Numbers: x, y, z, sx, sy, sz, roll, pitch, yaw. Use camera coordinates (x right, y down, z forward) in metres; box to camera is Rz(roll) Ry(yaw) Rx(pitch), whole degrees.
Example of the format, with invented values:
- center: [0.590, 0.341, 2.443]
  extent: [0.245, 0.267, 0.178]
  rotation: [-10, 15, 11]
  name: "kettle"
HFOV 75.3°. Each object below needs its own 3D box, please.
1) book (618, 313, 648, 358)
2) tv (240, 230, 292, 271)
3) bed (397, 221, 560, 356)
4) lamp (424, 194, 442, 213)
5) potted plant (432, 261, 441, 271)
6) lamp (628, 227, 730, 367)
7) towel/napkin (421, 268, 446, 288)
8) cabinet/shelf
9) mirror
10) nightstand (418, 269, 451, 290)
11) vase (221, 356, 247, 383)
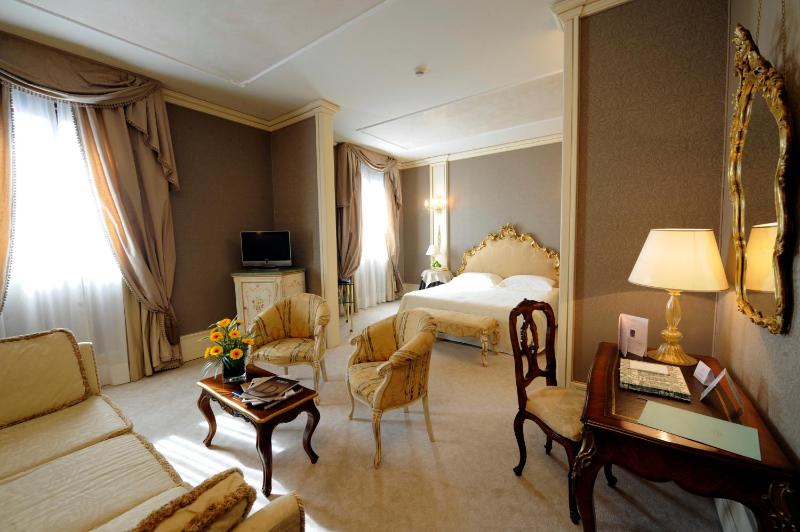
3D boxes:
- center: [1.932, 0.544, 4.323]
  extent: [0.322, 0.439, 0.293]
  rotation: [0, -1, 28]
  name: "book"
- center: [-1.715, -0.212, 6.628]
  extent: [0.485, 0.373, 0.163]
  rotation: [0, 9, -5]
  name: "tv"
- center: [1.313, 0.182, 7.419]
  extent: [1.979, 1.667, 1.901]
  rotation: [3, 4, 43]
  name: "bed"
- center: [0.608, -1.123, 9.211]
  extent: [0.408, 0.299, 0.155]
  rotation: [0, 5, 37]
  name: "lamp"
- center: [0.623, -0.044, 9.016]
  extent: [0.113, 0.081, 0.115]
  rotation: [8, 7, 31]
  name: "potted plant"
- center: [2.290, 0.141, 4.774]
  extent: [0.950, 1.433, 1.013]
  rotation: [2, 10, 17]
  name: "lamp"
- center: [0.531, 0.175, 8.801]
  extent: [0.349, 0.332, 0.356]
  rotation: [-3, -9, 37]
  name: "towel/napkin"
- center: [-1.665, 0.460, 6.733]
  extent: [0.859, 1.186, 0.784]
  rotation: [0, -1, 17]
  name: "cabinet/shelf"
- center: [2.618, -0.677, 3.801]
  extent: [0.219, 2.245, 0.678]
  rotation: [-2, 5, 9]
  name: "mirror"
- center: [0.584, 0.171, 8.859]
  extent: [0.397, 0.392, 0.383]
  rotation: [-4, -5, 40]
  name: "nightstand"
- center: [-1.543, 0.886, 4.818]
  extent: [0.212, 0.311, 0.244]
  rotation: [-3, 15, -20]
  name: "vase"
